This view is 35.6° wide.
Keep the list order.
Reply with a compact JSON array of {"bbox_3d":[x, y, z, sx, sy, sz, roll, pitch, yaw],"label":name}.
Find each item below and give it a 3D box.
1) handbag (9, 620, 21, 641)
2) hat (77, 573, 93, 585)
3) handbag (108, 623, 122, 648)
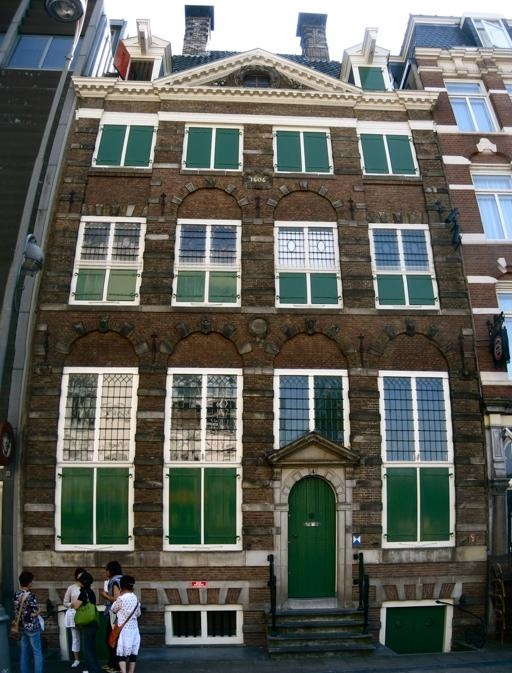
[{"bbox_3d":[-4.283,5.218,14.174,0.159,0.312,0.269,4,-19,-16],"label":"handbag"},{"bbox_3d":[-3.155,4.476,14.675,0.237,0.233,0.255,5,-19,-17],"label":"hat"},{"bbox_3d":[-2.446,5.173,13.742,0.115,0.369,0.300,13,-14,-31],"label":"handbag"}]
